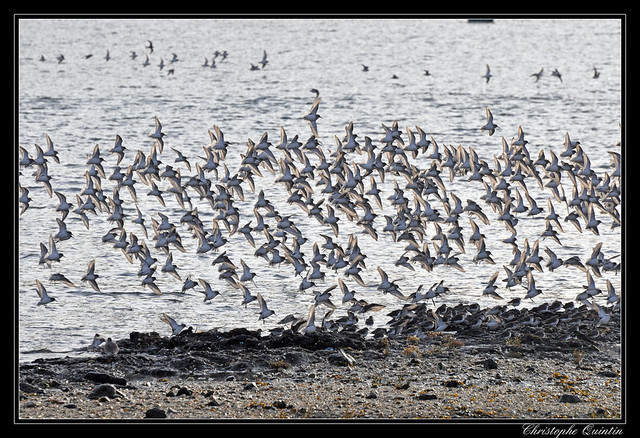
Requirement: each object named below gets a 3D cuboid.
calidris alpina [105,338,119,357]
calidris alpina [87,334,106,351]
[{"bbox_3d":[-9.409,5.826,69.833,0.572,0.738,0.590,-7,-26,7],"label":"calidris alpina"},{"bbox_3d":[-10.149,5.662,70.447,0.719,0.794,0.684,-1,5,-14],"label":"calidris alpina"}]
